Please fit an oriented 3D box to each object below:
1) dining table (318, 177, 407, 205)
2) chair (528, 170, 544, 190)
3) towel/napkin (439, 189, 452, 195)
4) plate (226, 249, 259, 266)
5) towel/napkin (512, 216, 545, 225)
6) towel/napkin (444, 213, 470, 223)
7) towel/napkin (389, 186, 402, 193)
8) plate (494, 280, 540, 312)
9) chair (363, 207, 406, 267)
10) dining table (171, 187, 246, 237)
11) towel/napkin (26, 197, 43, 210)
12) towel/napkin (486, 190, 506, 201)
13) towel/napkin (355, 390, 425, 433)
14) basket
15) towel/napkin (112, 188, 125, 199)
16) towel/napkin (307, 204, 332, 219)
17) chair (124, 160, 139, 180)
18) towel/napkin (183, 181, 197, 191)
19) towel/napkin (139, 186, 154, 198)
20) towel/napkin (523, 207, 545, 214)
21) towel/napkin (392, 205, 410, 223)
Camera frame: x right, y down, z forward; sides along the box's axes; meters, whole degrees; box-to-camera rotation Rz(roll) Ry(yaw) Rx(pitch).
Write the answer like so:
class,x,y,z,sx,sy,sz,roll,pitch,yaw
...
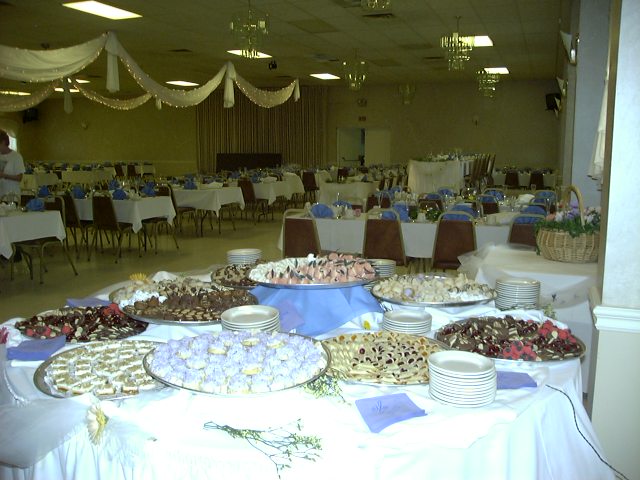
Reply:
class,x,y,z,sx,sy,sz,roll,pitch,yaw
dining table,0.551,-0.929,9.920,1.133,0.433,1.650,1,10,8
chair,5.437,-1.473,12.343,0.339,0.354,0.633,4,11,22
towel/napkin,1.867,-0.708,7.339,0.157,0.059,0.161,-1,8,2
plate,-0.432,0.095,2.765,0.107,0.049,0.112,2,10,16
towel/napkin,1.776,-0.163,4.198,0.238,0.070,0.248,3,6,19
towel/napkin,1.258,-0.207,4.532,0.251,0.078,0.071,3,10,16
towel/napkin,1.094,-0.713,7.073,0.150,0.060,0.164,-1,13,19
plate,0.886,0.244,2.202,0.144,0.092,0.150,3,8,17
chair,0.652,-0.045,4.945,0.444,0.817,0.506,3,13,15
dining table,-1.982,-0.699,9.040,1.088,0.607,0.950,3,9,21
towel/napkin,-3.347,-0.410,5.781,0.152,0.068,0.151,-14,37,-34
towel/napkin,2.466,-0.644,6.921,0.268,0.068,0.264,-15,28,-24
towel/napkin,0.191,0.486,1.396,0.093,0.021,0.096,-11,21,-21
basket,1.557,-0.102,3.033,0.401,0.423,0.410,-2,6,12
towel/napkin,-2.866,-0.646,7.038,0.152,0.160,0.042,20,-15,-20
towel/napkin,0.009,-0.310,5.343,0.177,0.180,0.039,-7,9,-13
chair,-6.028,-2.181,15.833,0.297,0.467,0.700,-2,10,-9
towel/napkin,-2.329,-0.973,8.826,0.167,0.171,0.151,-3,-23,7
towel/napkin,-2.625,-0.719,7.513,0.195,0.123,0.243,-2,6,-10
towel/napkin,2.285,-0.316,5.227,0.192,0.053,0.200,0,8,7
towel/napkin,0.854,-0.276,5.114,0.171,0.182,0.042,-6,-8,4
